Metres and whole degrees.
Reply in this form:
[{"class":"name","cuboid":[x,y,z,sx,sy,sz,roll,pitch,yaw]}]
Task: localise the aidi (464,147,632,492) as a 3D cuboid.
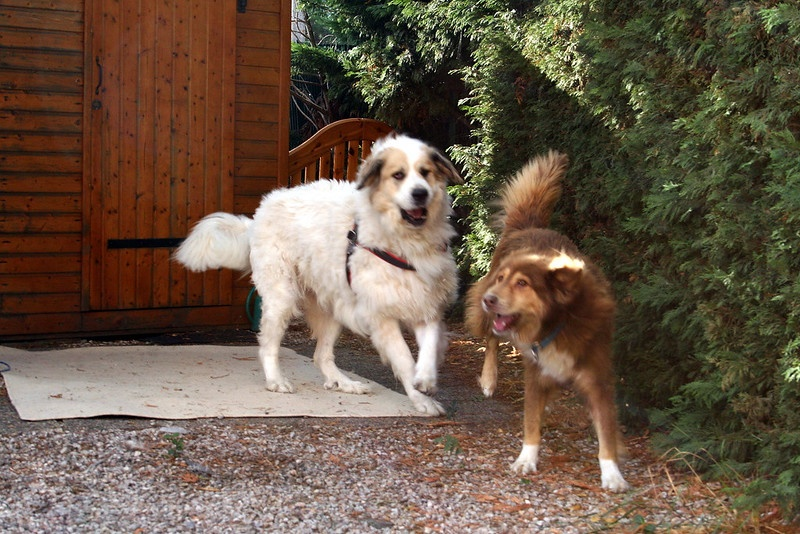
[{"class":"aidi","cuboid":[1.062,0.257,5.174,1.030,2.152,1.675,3,11,-3]}]
